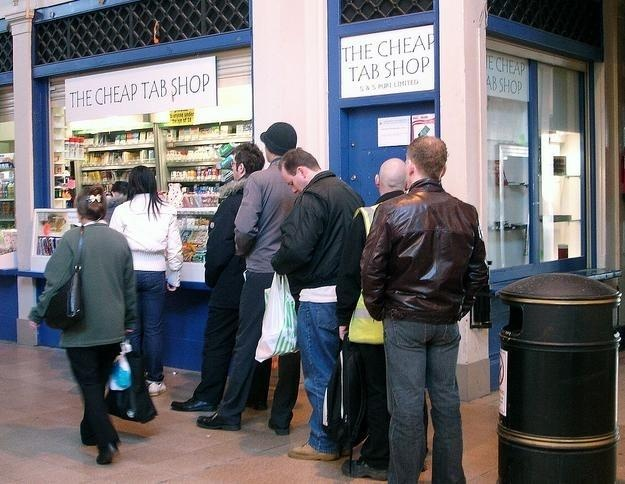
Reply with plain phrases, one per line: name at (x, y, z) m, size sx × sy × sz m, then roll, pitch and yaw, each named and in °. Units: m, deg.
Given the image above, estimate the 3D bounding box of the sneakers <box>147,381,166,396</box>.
sneakers at (-1.585, 1.478, 5.952) m, size 0.080 × 0.112 × 0.235 m, roll 0°, pitch 1°, yaw 14°

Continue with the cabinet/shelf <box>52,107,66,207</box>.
cabinet/shelf at (-3.578, -1.374, 8.409) m, size 0.182 × 1.100 × 0.101 m, roll -7°, pitch -4°, yaw 31°

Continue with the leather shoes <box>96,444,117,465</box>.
leather shoes at (-1.490, 1.526, 4.262) m, size 0.133 × 0.159 × 0.162 m, roll -2°, pitch 3°, yaw -31°

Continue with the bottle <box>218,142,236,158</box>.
bottle at (-1.055, -1.088, 7.370) m, size 0.218 × 0.234 × 0.060 m, roll -40°, pitch -46°, yaw 23°

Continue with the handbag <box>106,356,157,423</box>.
handbag at (-1.357, 1.115, 4.586) m, size 0.193 × 0.414 × 0.401 m, roll -8°, pitch 3°, yaw -21°

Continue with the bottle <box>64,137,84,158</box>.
bottle at (-3.572, -1.389, 8.816) m, size 0.220 × 0.336 × 0.318 m, roll -1°, pitch -2°, yaw -4°

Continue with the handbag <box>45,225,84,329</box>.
handbag at (-1.766, 0.253, 4.186) m, size 0.270 × 0.697 × 0.187 m, roll -2°, pitch 2°, yaw -25°
